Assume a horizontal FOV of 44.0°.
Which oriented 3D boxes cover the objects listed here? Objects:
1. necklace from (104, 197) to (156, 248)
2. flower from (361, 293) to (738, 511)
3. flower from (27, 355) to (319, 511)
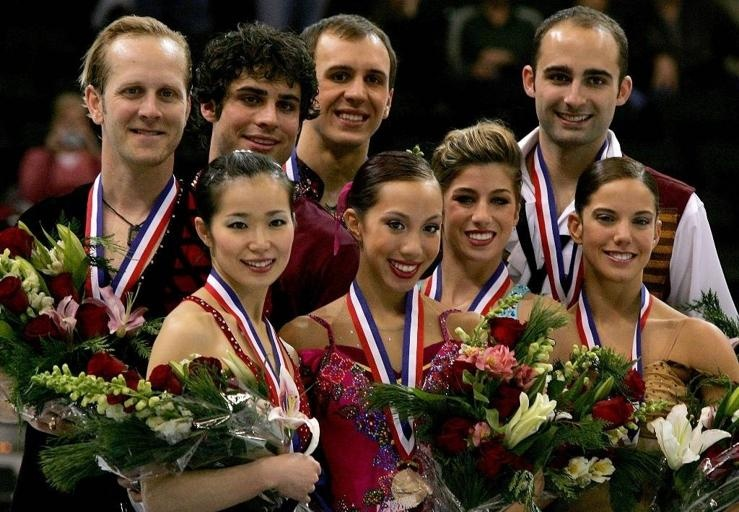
[{"bbox_3d":[-1.088,-0.168,4.063,0.193,0.195,0.076,38,-43,-1],"label":"necklace"},{"bbox_3d":[0.688,0.607,3.722,1.355,0.886,0.461,2,-3,-19],"label":"flower"},{"bbox_3d":[-0.746,0.582,3.477,0.825,0.355,0.627,10,-16,-2],"label":"flower"}]
